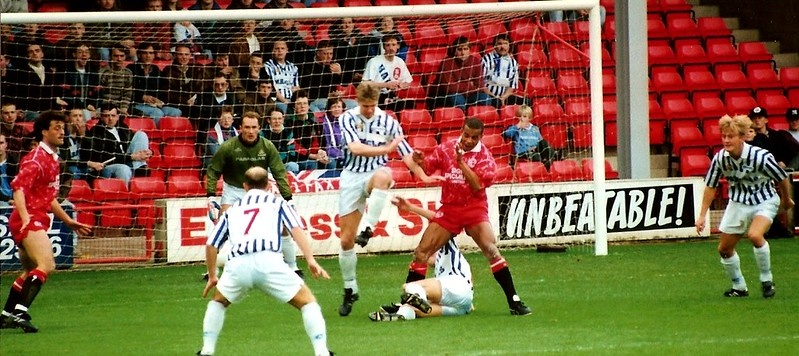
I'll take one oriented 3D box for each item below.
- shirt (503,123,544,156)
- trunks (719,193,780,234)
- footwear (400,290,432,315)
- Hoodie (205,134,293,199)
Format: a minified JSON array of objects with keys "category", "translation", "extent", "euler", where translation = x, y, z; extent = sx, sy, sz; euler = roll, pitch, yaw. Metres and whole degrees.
[{"category":"shirt","translation":[3.917,-1.138,29.473],"extent":[1.634,1.180,0.875],"euler":[1,-9,5]},{"category":"trunks","translation":[9.018,0.926,24.152],"extent":[1.133,0.614,0.982],"euler":[11,54,33]},{"category":"footwear","translation":[0.384,2.995,22.934],"extent":[0.968,0.301,0.407],"euler":[27,6,-6]},{"category":"Hoodie","translation":[-4.039,-0.379,25.113],"extent":[2.557,1.793,1.676],"euler":[3,4,-14]}]
